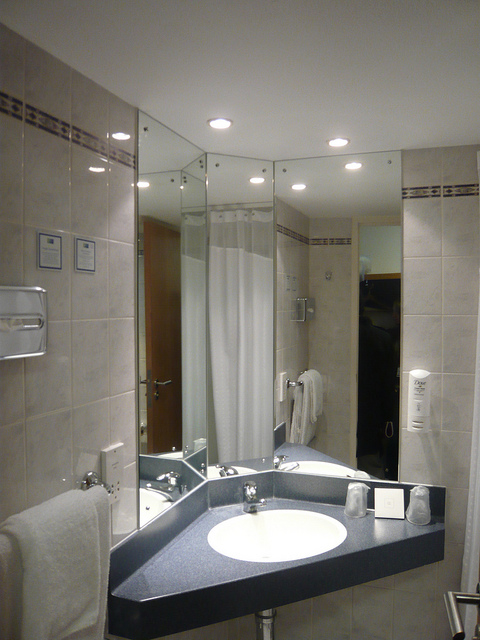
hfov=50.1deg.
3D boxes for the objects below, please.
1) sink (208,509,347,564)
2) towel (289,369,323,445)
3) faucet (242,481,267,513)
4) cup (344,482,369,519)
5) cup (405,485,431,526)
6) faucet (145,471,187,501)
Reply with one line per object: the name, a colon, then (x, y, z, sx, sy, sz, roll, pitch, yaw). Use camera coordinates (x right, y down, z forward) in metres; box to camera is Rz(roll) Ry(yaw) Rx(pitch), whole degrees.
sink: (0.138, 0.836, 1.940, 0.488, 0.133, 0.265, 0, 0, -2)
towel: (0.291, 0.383, 2.246, 0.141, 0.317, 0.034, 0, 1, 11)
faucet: (0.046, 0.740, 2.100, 0.055, 0.158, 0.113, 5, -12, -33)
cup: (0.458, 0.717, 2.021, 0.070, 0.134, 0.109, 1, -9, 10)
cup: (0.697, 0.682, 1.997, 0.077, 0.175, 0.152, 2, 21, 11)
faucet: (-0.258, 0.597, 1.818, 0.052, 0.061, 0.134, 10, 3, 18)
